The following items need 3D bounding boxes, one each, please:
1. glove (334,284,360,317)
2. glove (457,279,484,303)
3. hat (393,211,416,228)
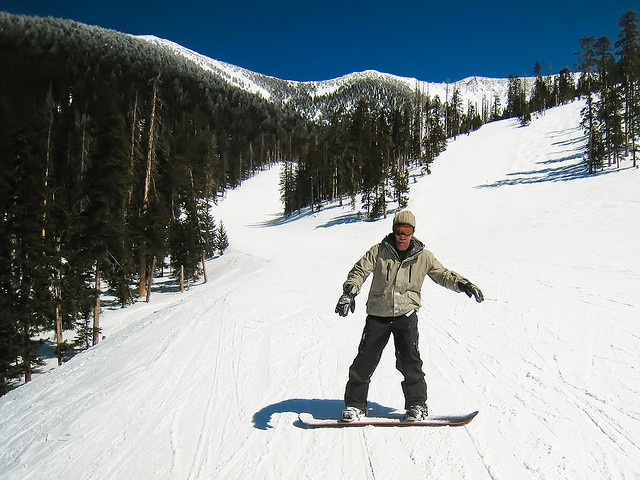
[{"bbox_3d":[0.820,1.847,15.681,0.623,0.961,0.632,-4,3,15],"label":"glove"},{"bbox_3d":[4.549,1.548,15.971,0.853,0.539,0.236,40,8,14],"label":"glove"},{"bbox_3d":[2.504,-0.610,15.660,0.389,0.569,0.601,3,13,2],"label":"hat"}]
